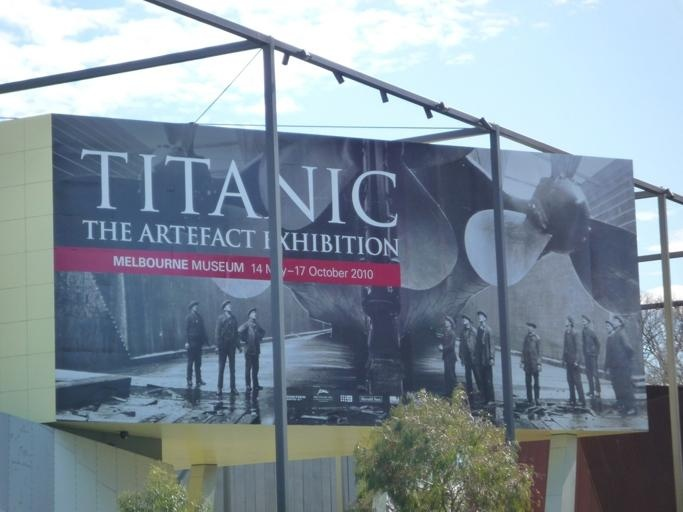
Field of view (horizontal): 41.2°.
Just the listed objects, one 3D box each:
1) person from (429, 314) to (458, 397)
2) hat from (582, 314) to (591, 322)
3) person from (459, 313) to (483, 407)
[{"bbox_3d":[3.871,3.659,33.428,0.812,2.912,0.200,2,-13,-24],"label":"person"},{"bbox_3d":[9.573,2.468,35.701,0.284,0.266,0.225,1,-3,-13],"label":"hat"},{"bbox_3d":[4.689,3.864,33.656,0.686,3.252,0.282,-2,-12,-4],"label":"person"}]
